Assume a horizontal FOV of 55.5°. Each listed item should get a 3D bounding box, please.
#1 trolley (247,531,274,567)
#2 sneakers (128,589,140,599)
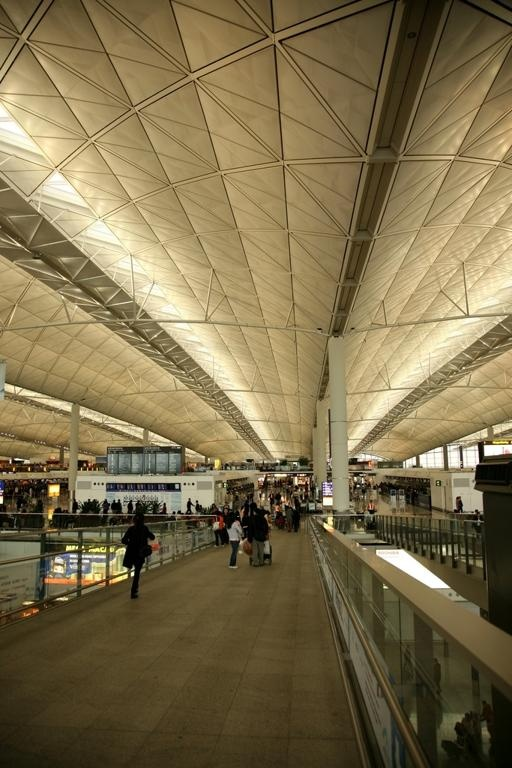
[{"bbox_3d":[0.055,5.317,15.555,0.793,1.566,0.870,-1,-10,10],"label":"trolley"},{"bbox_3d":[-2.442,4.234,9.697,0.193,0.191,0.149,-7,-2,20],"label":"sneakers"}]
